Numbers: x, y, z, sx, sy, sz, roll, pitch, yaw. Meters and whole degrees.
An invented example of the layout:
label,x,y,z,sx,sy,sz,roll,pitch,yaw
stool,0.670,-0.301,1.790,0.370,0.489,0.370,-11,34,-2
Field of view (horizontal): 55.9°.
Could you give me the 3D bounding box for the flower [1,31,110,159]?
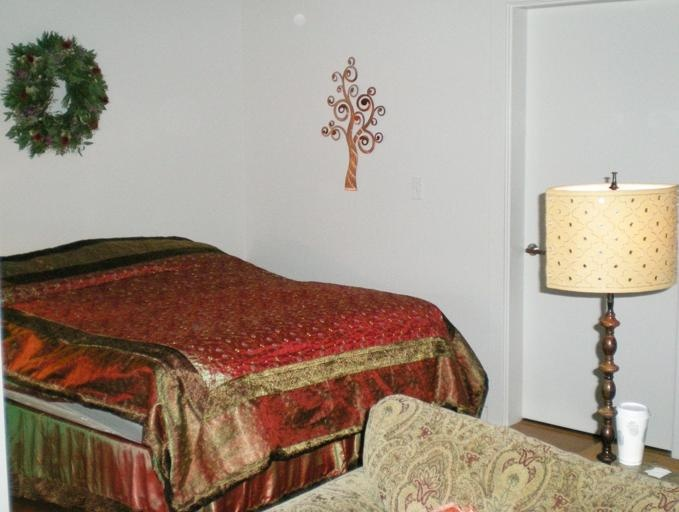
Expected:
label,x,y,z,sx,sy,sz,roll,pitch,yaw
flower,-1.711,-0.982,3.876,0.190,0.733,0.636,9,14,29
